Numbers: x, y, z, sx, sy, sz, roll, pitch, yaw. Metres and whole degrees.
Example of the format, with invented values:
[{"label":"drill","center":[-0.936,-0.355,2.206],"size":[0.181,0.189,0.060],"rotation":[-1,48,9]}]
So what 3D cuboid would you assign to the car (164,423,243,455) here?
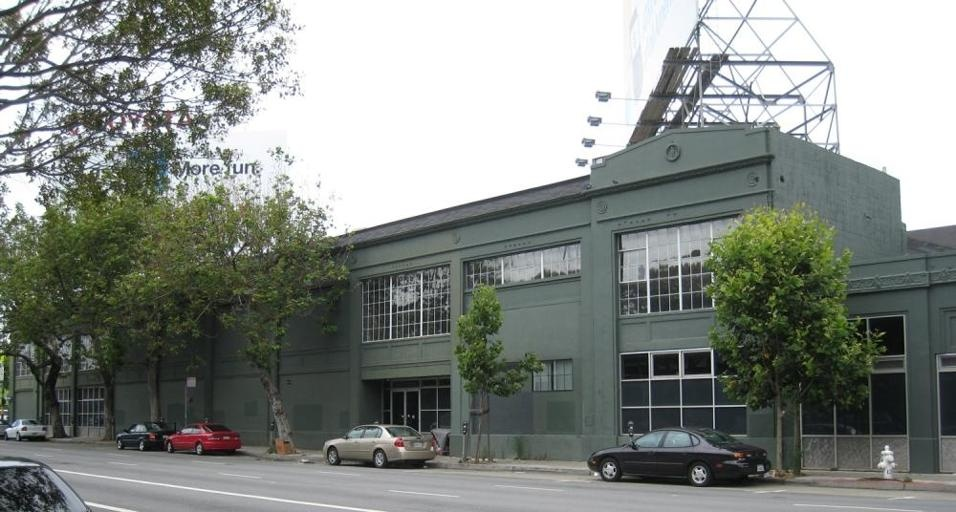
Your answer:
[{"label":"car","center":[-16.651,10.896,55.683],"size":[4.296,1.786,1.151],"rotation":[-8,-16,24]}]

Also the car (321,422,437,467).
[{"label":"car","center":[-5.287,9.791,48.645],"size":[5.401,1.589,2.349],"rotation":[-5,-10,39]}]
